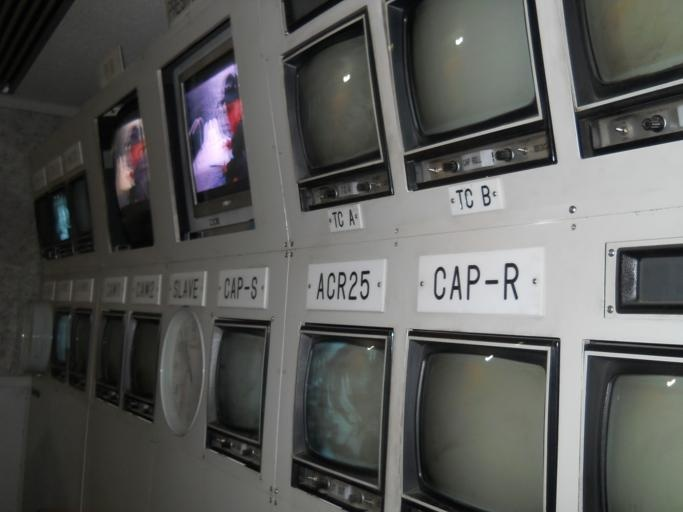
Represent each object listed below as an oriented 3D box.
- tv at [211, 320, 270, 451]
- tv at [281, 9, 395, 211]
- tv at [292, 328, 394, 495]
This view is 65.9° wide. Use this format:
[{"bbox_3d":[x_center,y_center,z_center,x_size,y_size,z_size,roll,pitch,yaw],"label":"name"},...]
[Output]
[{"bbox_3d":[-0.579,0.683,2.916,0.432,0.573,0.040,-5,-8,42],"label":"tv"},{"bbox_3d":[-0.001,-0.673,2.502,0.426,0.727,0.356,-13,-12,22],"label":"tv"},{"bbox_3d":[0.038,0.665,2.455,0.423,0.657,0.304,3,0,25],"label":"tv"}]
